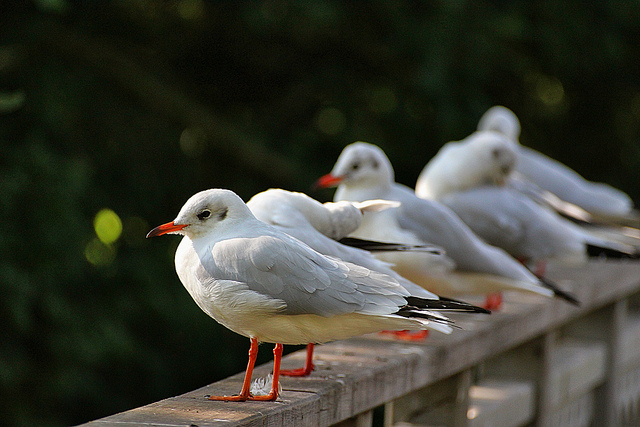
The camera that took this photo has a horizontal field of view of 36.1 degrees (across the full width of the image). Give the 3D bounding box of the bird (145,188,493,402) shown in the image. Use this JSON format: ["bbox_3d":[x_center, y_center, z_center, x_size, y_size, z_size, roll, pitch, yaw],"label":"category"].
[{"bbox_3d":[-0.120,0.475,5.895,2.064,1.072,0.652,4,-6,-15],"label":"bird"}]

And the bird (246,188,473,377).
[{"bbox_3d":[0.049,0.507,6.177,2.111,1.052,0.563,-1,-7,-16],"label":"bird"}]
